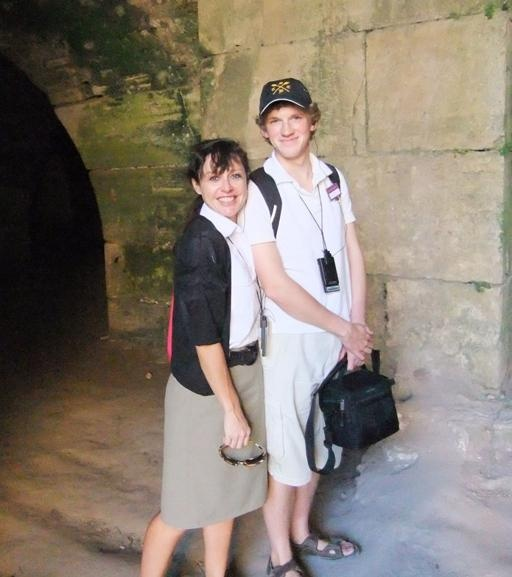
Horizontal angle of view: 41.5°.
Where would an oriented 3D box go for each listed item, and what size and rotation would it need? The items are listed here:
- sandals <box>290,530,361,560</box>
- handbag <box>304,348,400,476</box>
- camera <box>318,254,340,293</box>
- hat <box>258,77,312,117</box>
[{"bbox_3d":[0.319,1.141,3.039,0.308,0.080,0.113,-1,30,11],"label":"sandals"},{"bbox_3d":[0.414,0.433,2.745,0.576,0.466,0.225,-12,7,-44],"label":"handbag"},{"bbox_3d":[0.294,-0.064,2.665,0.085,0.169,0.041,-4,5,-25],"label":"camera"},{"bbox_3d":[0.110,-0.753,2.668,0.220,0.130,0.279,-4,5,2],"label":"hat"}]
